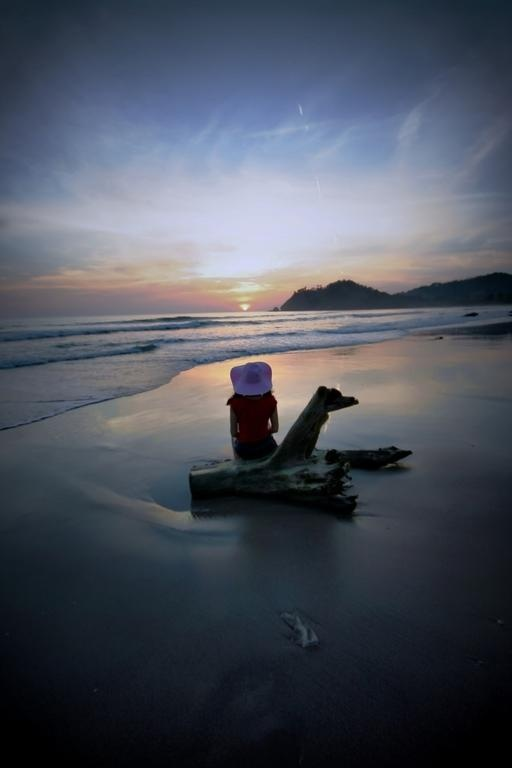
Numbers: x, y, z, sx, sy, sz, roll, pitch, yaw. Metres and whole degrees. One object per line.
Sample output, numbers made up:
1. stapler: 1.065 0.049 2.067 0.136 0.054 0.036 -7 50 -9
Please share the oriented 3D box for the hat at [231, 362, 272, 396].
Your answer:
1. hat: -0.035 -0.048 4.610 0.311 0.255 0.389 -1 8 -2
